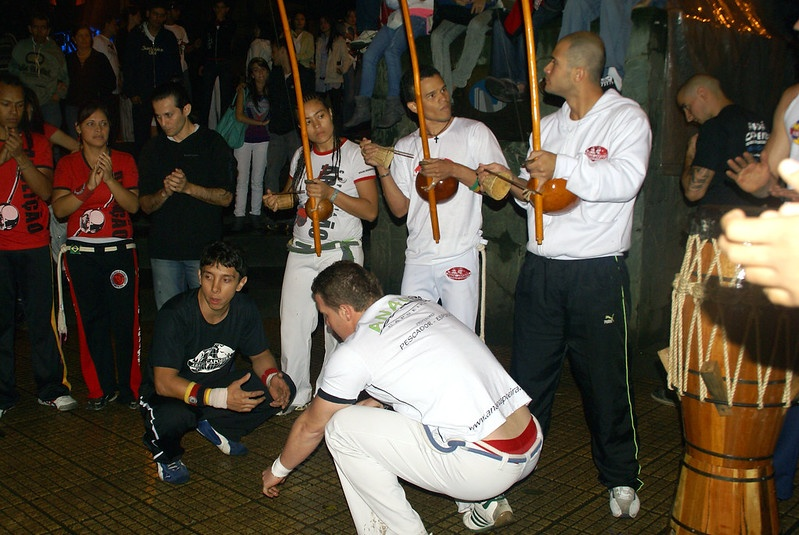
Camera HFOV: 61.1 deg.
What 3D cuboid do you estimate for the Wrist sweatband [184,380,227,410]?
[{"bbox_3d":[-1.337,0.889,4.677,0.258,0.120,0.163,8,17,2],"label":"Wrist sweatband"}]

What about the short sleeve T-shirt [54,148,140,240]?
[{"bbox_3d":[-2.444,-0.593,5.468,0.808,0.929,0.481,-1,10,-15],"label":"short sleeve T-shirt"}]

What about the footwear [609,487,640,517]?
[{"bbox_3d":[1.437,1.495,4.306,0.135,0.094,0.224,-3,24,8],"label":"footwear"}]

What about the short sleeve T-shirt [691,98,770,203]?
[{"bbox_3d":[2.447,-0.843,5.021,0.742,0.658,0.376,-12,18,-35],"label":"short sleeve T-shirt"}]

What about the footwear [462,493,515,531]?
[{"bbox_3d":[0.556,1.529,4.315,0.336,0.232,0.176,-1,3,19],"label":"footwear"}]

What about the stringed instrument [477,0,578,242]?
[{"bbox_3d":[0.885,-0.881,4.226,0.319,1.481,0.498,-8,18,-21],"label":"stringed instrument"}]

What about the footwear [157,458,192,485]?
[{"bbox_3d":[-1.548,1.404,4.655,0.127,0.098,0.225,-8,7,-40],"label":"footwear"}]

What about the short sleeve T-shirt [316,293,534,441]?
[{"bbox_3d":[0.115,0.570,3.820,0.964,0.539,0.794,33,40,26],"label":"short sleeve T-shirt"}]

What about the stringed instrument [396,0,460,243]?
[{"bbox_3d":[0.209,-1.040,4.912,0.341,1.679,0.582,-9,19,-24],"label":"stringed instrument"}]
